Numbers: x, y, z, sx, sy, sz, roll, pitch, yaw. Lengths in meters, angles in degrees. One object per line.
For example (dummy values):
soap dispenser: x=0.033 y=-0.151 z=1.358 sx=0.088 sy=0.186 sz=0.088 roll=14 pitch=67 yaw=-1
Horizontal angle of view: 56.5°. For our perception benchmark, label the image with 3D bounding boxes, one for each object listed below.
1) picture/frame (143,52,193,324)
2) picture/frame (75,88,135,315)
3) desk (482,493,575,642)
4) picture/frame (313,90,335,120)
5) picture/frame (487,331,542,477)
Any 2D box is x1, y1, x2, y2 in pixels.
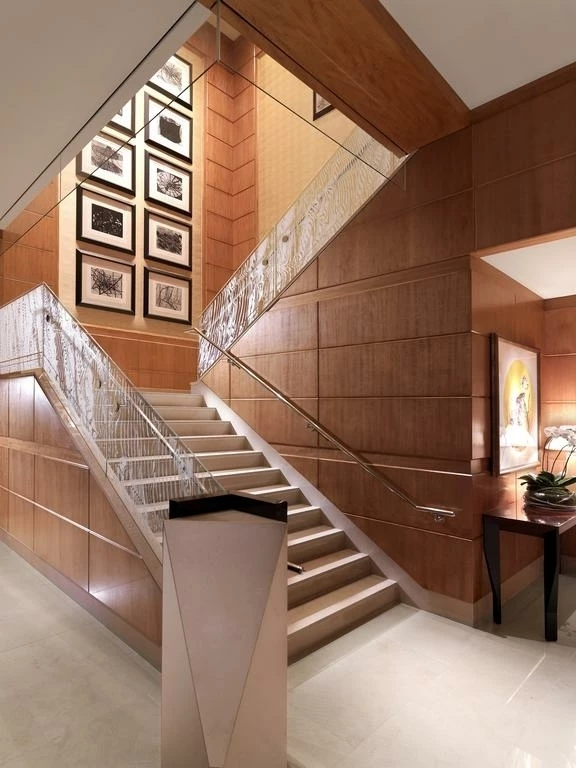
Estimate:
picture/frame: x=-1.608 y=-2.487 z=7.321 sx=0.217 sy=3.441 sz=0.867 roll=0 pitch=0 yaw=38
picture/frame: x=-2.227 y=-2.194 z=6.601 sx=0.747 sy=2.694 sz=0.552 roll=-1 pitch=0 yaw=-24
desk: x=1.476 y=1.095 z=3.313 sx=0.429 sy=0.848 sz=0.827 roll=-3 pitch=-7 yaw=38
picture/frame: x=0.211 y=-1.674 z=3.250 sx=0.123 sy=0.114 sz=0.305 roll=-1 pitch=0 yaw=3
picture/frame: x=1.617 y=0.152 z=3.866 sx=0.061 sy=1.000 sz=0.894 roll=-4 pitch=-9 yaw=36
